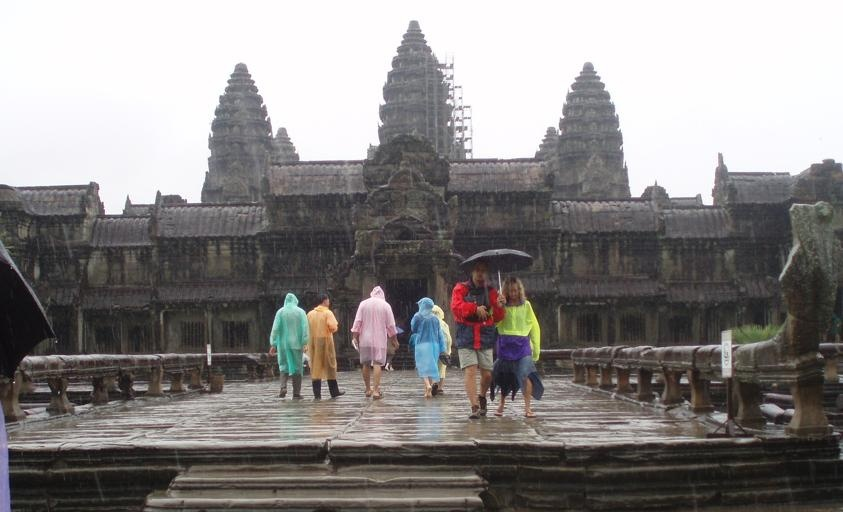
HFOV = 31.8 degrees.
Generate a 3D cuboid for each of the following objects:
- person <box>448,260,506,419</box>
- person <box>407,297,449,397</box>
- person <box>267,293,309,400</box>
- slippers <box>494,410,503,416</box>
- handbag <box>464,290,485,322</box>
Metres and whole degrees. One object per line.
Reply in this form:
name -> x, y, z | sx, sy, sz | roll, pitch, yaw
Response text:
person -> 1.358, 2.008, 37.643 | 1.176, 4.121, 1.109 | -1, 0, -6
person -> 0.194, 2.423, 41.002 | 1.032, 2.704, 1.034 | 0, 0, 0
person -> -3.760, 2.432, 41.251 | 0.987, 3.106, 1.205 | -1, -1, 5
slippers -> 1.941, 3.920, 37.281 | 0.167, 0.173, 0.213 | -1, -7, 3
handbag -> 1.387, 1.204, 37.244 | 0.266, 0.691, 0.535 | 1, -10, 29
